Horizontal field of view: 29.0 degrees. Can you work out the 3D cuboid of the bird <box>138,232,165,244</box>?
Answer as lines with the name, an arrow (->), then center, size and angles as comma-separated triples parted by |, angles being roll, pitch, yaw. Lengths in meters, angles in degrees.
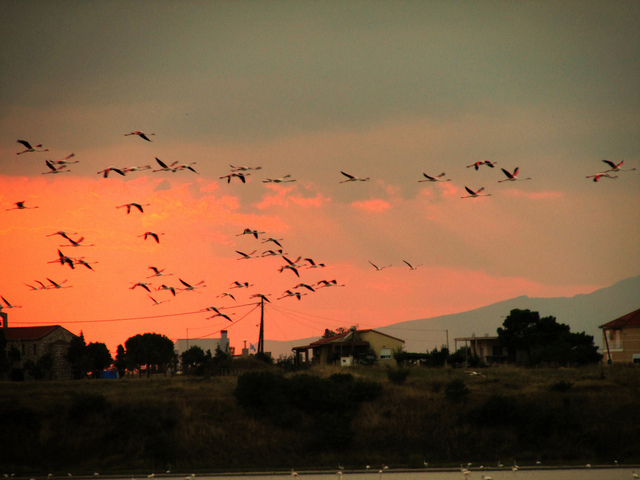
bird -> -7.404, -0.199, 54.917 | 0.975, 0.385, 0.777 | -3, -12, 28
